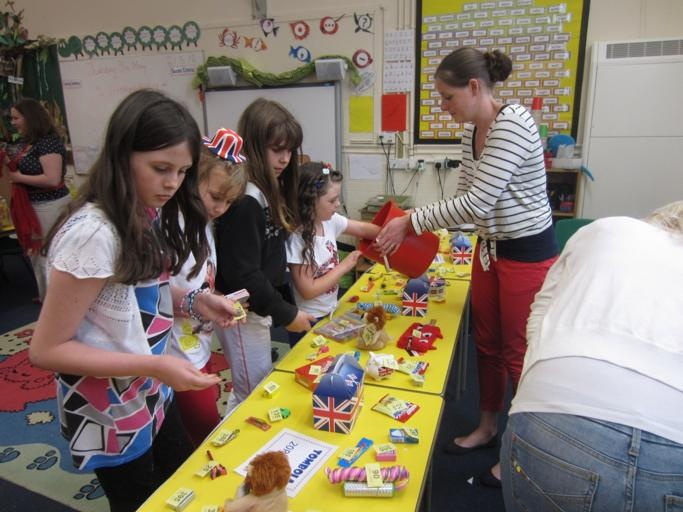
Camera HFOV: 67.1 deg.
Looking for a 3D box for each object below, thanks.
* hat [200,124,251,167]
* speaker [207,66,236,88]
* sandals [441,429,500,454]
[{"bbox_3d":[-0.427,-0.407,1.892,0.147,0.075,0.152,29,24,-23],"label":"hat"},{"bbox_3d":[-1.084,-1.605,4.643,0.260,0.199,0.153,3,52,6],"label":"speaker"},{"bbox_3d":[0.652,0.953,2.616,0.274,0.115,0.106,-2,5,-2],"label":"sandals"}]
